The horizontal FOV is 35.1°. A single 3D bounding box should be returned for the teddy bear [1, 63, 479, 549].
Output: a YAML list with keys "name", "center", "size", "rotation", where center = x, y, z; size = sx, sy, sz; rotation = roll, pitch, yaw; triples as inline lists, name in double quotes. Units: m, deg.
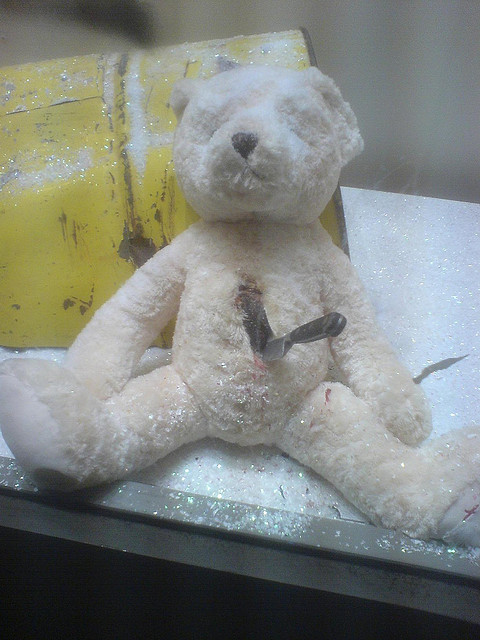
- name: "teddy bear"
  center: [0.028, -0.037, 0.949]
  size: [0.584, 0.470, 0.442]
  rotation: [5, 35, 5]
